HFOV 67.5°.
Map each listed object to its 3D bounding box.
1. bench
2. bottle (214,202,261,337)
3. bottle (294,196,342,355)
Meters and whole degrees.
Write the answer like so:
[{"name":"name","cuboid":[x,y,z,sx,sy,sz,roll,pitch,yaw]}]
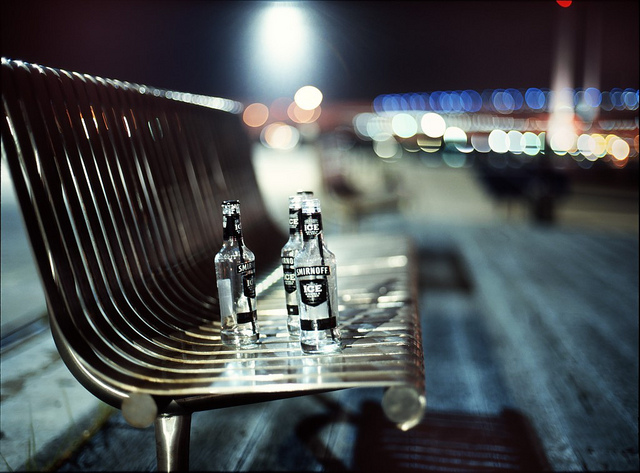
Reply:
[{"name":"bench","cuboid":[-0.235,-0.038,1.641,1.032,1.036,1.356,-2,9,7]},{"name":"bottle","cuboid":[-0.232,0.090,1.312,0.105,0.387,0.194,-4,9,-9]},{"name":"bottle","cuboid":[-0.009,0.092,1.213,0.108,0.386,0.168,-4,9,-3]}]
